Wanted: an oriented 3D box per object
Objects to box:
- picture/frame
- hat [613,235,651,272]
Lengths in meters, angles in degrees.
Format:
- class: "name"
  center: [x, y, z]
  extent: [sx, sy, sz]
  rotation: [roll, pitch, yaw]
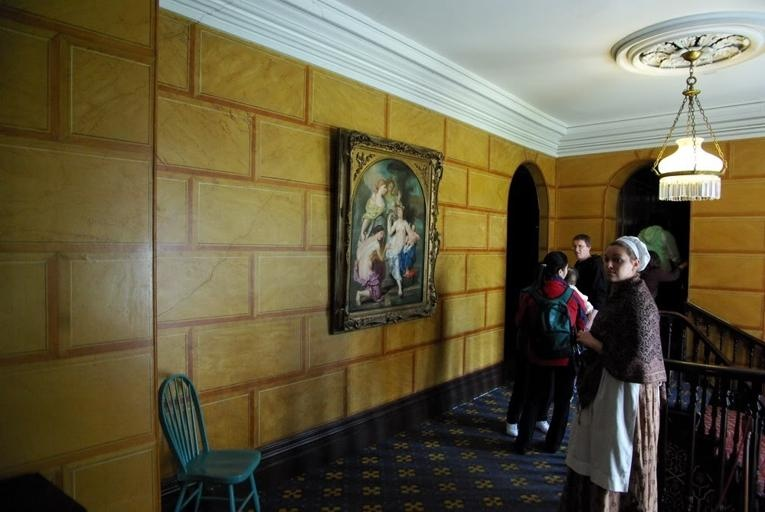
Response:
- class: "picture/frame"
  center: [0.022, -0.273, 5.497]
  extent: [1.428, 2.030, 0.262]
  rotation: [-5, 10, -40]
- class: "hat"
  center: [1.977, -0.068, 4.028]
  extent: [0.094, 0.283, 0.296]
  rotation: [-27, -48, 21]
